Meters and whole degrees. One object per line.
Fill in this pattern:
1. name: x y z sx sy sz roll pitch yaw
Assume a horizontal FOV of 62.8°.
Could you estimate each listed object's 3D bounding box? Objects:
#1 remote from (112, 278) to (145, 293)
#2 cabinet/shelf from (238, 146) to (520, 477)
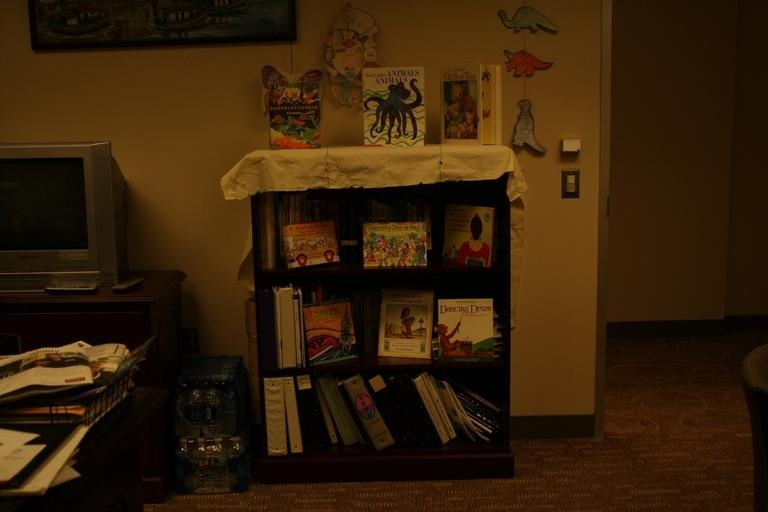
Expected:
1. remote: -1.338 0.150 3.298 0.059 0.027 0.126 2 18 6
2. cabinet/shelf: -0.029 0.309 3.374 1.705 1.781 0.617 -1 8 -2
